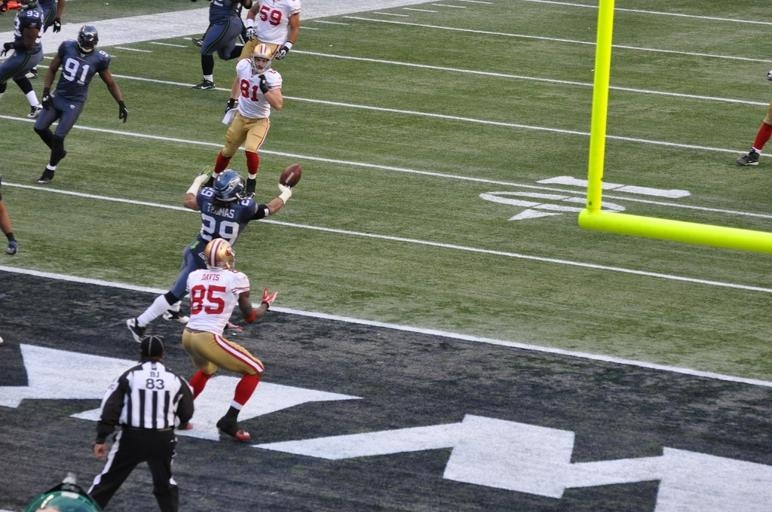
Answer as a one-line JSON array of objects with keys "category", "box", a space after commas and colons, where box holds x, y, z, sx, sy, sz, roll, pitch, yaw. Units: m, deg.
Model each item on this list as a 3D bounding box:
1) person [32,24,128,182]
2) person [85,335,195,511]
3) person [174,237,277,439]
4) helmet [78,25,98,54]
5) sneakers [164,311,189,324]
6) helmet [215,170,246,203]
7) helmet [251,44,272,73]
[{"category": "person", "box": [-4.585, -2.216, 21.288, 1.065, 2.413, 0.657, 11, 15, -10]}, {"category": "person", "box": [-2.529, 1.813, 15.165, 1.007, 1.906, 0.572, 11, 14, -8]}, {"category": "person", "box": [-1.823, 0.943, 16.291, 1.231, 2.274, 0.634, 15, 14, 10]}, {"category": "helmet", "box": [-4.385, -3.168, 21.096, 0.263, 0.399, 0.306, 9, 13, -13]}, {"category": "sneakers", "box": [-2.566, 0.759, 17.499, 0.484, 0.102, 0.177, 7, -27, -27]}, {"category": "helmet", "box": [-1.883, -0.817, 17.186, 0.366, 0.390, 0.235, 8, 14, -10]}, {"category": "helmet", "box": [-1.813, -2.845, 20.781, 0.275, 0.404, 0.550, 10, 11, -7]}]
